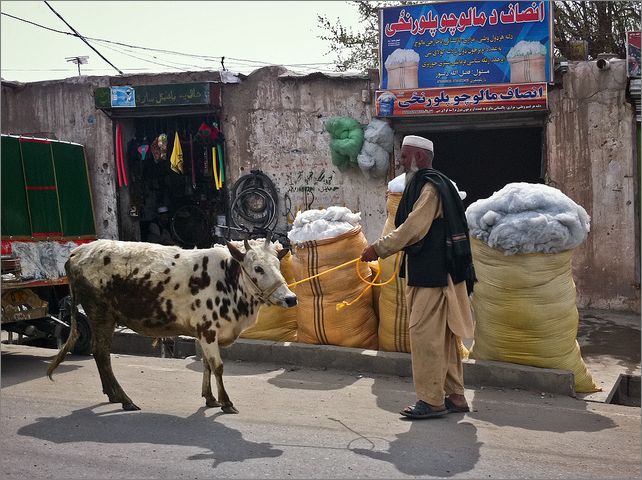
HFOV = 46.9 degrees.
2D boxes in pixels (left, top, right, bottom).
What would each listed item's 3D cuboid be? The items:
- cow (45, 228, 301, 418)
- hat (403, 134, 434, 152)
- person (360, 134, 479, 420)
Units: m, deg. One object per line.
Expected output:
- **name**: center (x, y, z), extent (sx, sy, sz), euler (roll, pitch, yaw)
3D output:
- **cow**: center (-1.594, 0.851, 7.894), extent (2.519, 1.848, 0.648), euler (1, 9, 9)
- **hat**: center (1.062, -1.026, 7.847), extent (0.214, 0.111, 0.220), euler (11, 6, 44)
- **person**: center (1.122, 0.385, 7.661), extent (0.939, 2.875, 0.778), euler (2, 9, 12)
